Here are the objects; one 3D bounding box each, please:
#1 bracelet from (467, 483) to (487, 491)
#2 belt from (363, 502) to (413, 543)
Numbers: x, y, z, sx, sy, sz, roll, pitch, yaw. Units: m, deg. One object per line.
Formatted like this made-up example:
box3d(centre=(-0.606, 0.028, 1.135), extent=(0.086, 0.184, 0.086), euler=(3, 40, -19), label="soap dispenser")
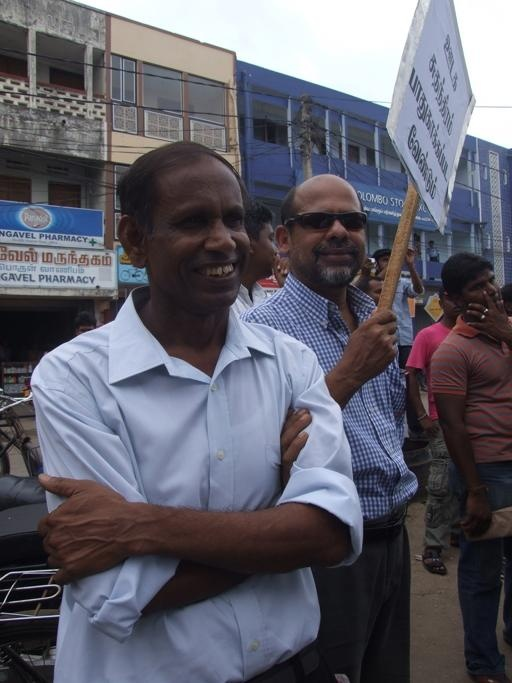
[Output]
box3d(centre=(0.932, 0.621, 2.917), extent=(0.041, 0.023, 0.053), euler=(-4, -2, 12), label="bracelet")
box3d(centre=(0.392, 0.563, 2.115), extent=(0.099, 0.072, 0.117), euler=(-7, -18, 5), label="belt")
